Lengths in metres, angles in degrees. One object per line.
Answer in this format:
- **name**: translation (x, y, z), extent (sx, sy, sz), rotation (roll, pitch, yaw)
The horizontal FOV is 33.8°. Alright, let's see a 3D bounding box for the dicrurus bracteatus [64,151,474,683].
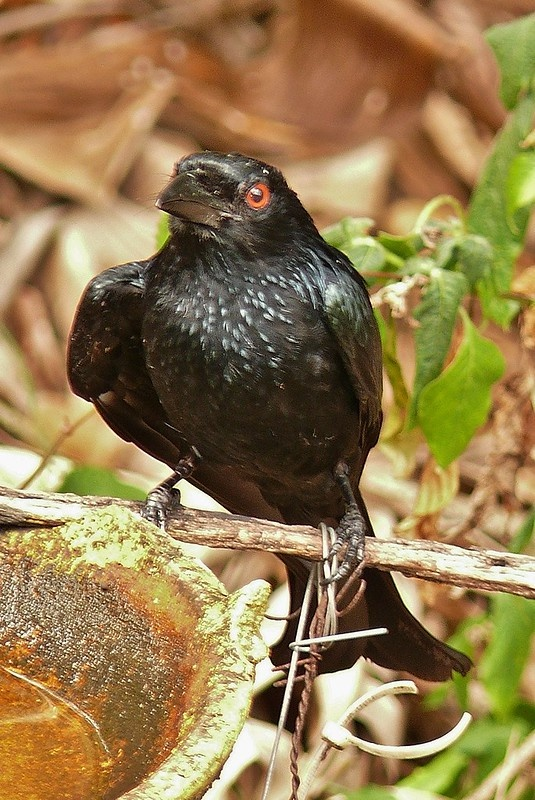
- **dicrurus bracteatus**: translation (-0.067, -0.045, 2.021), extent (0.783, 0.943, 0.565), rotation (19, 45, 6)
